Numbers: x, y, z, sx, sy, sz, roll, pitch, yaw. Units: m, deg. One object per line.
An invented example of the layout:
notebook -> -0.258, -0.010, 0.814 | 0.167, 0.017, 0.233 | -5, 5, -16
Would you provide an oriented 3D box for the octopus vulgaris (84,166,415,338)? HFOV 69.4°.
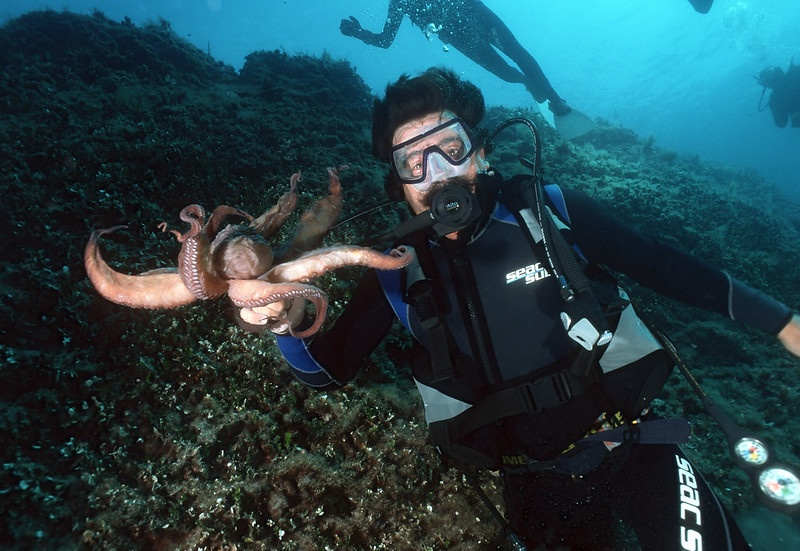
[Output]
octopus vulgaris -> -1.705, -0.268, 6.523 | 3.138, 1.173, 1.179 | 11, 33, -5
